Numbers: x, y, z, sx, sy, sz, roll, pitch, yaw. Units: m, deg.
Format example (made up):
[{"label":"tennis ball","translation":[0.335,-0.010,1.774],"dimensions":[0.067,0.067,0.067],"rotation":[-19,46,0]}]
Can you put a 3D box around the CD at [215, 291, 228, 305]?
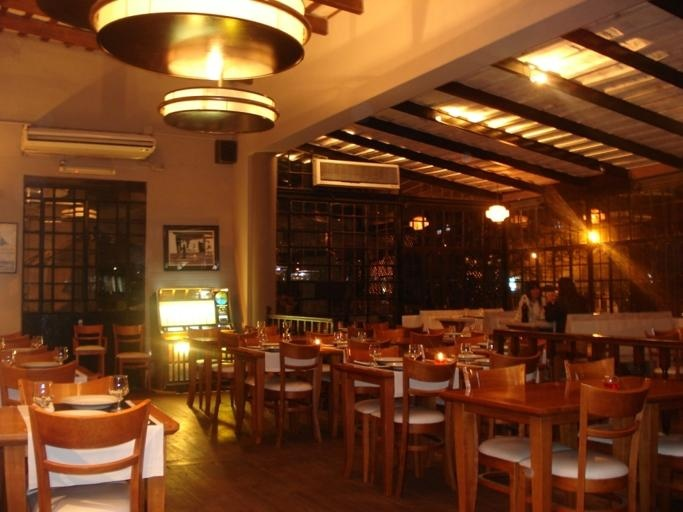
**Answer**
[{"label":"CD","translation":[-2.223,0.779,11.030],"dimensions":[0.258,0.239,0.135],"rotation":[-10,-4,-39]}]

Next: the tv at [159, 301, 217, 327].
[{"label":"tv","translation":[-2.758,1.023,10.642],"dimensions":[0.908,0.444,0.196],"rotation":[2,-11,-25]}]

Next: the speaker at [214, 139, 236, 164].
[{"label":"speaker","translation":[-2.189,-1.960,11.271],"dimensions":[0.438,0.434,0.191],"rotation":[-1,-1,-7]}]
